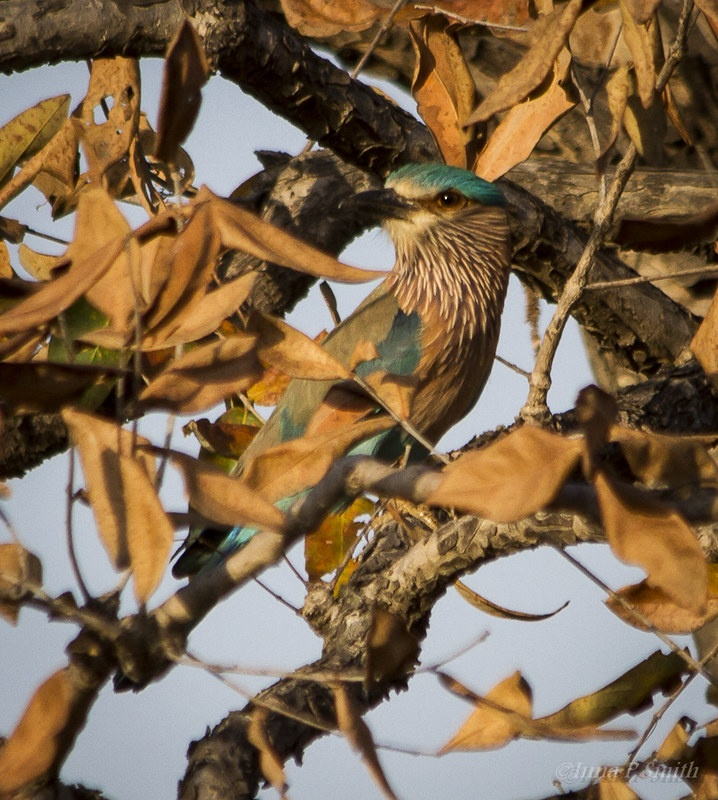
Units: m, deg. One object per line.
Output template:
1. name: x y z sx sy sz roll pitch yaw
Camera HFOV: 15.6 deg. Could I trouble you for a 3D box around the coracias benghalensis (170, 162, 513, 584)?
1. coracias benghalensis: 0.025 -0.077 7.046 0.624 1.139 1.643 17 19 3
